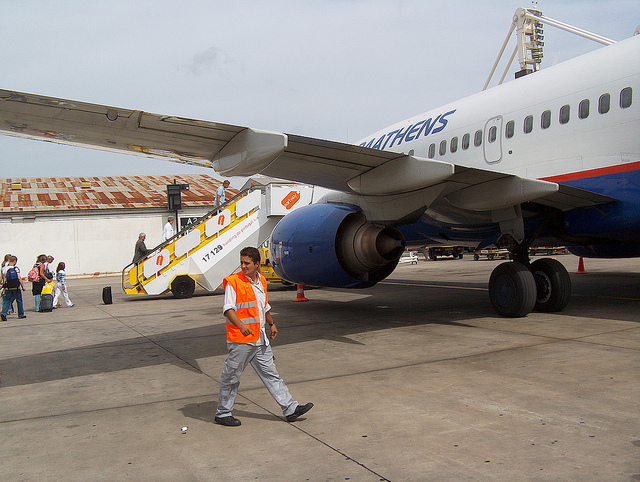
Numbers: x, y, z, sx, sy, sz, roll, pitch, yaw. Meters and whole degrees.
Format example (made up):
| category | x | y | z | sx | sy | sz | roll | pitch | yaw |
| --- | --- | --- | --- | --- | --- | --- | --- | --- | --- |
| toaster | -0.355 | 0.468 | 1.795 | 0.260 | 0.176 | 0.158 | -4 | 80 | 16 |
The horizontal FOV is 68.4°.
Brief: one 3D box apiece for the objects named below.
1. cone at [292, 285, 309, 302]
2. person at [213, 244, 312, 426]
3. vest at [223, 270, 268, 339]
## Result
| category | x | y | z | sx | sy | sz | roll | pitch | yaw |
| --- | --- | --- | --- | --- | --- | --- | --- | --- | --- |
| cone | -0.578 | 1.522 | 13.649 | 0.554 | 0.444 | 0.472 | 1 | -9 | 0 |
| person | -0.712 | 0.931 | 5.245 | 0.914 | 1.813 | 1.222 | -4 | 0 | -4 |
| vest | -0.806 | 0.653 | 4.794 | 0.310 | 0.694 | 0.270 | -4 | 1 | 40 |
